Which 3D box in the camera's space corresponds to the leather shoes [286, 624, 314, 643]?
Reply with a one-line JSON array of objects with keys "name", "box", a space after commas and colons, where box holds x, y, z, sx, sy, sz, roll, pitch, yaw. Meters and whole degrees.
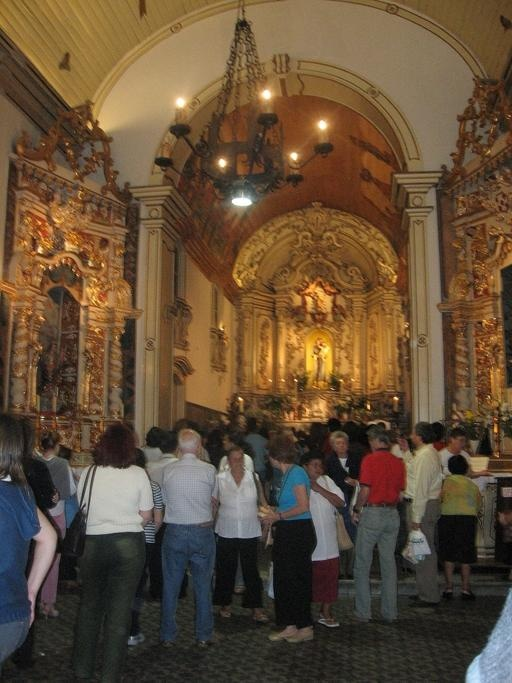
[{"name": "leather shoes", "box": [0.329, 2.224, 4.709, 0.211, 0.174, 0.091, 3, -10, -2]}]

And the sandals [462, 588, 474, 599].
[{"name": "sandals", "box": [2.088, 2.497, 6.100, 0.080, 0.082, 0.208, -4, -19, 18]}]

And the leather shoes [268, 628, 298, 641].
[{"name": "leather shoes", "box": [0.206, 2.251, 4.732, 0.198, 0.062, 0.100, 3, -8, -3]}]

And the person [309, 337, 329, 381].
[{"name": "person", "box": [2.180, 0.645, 21.152, 0.554, 1.506, 0.538, 0, -11, 5]}]

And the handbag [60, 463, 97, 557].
[{"name": "handbag", "box": [-1.034, 1.008, 3.611, 0.145, 0.541, 0.324, 3, -10, -11]}]
